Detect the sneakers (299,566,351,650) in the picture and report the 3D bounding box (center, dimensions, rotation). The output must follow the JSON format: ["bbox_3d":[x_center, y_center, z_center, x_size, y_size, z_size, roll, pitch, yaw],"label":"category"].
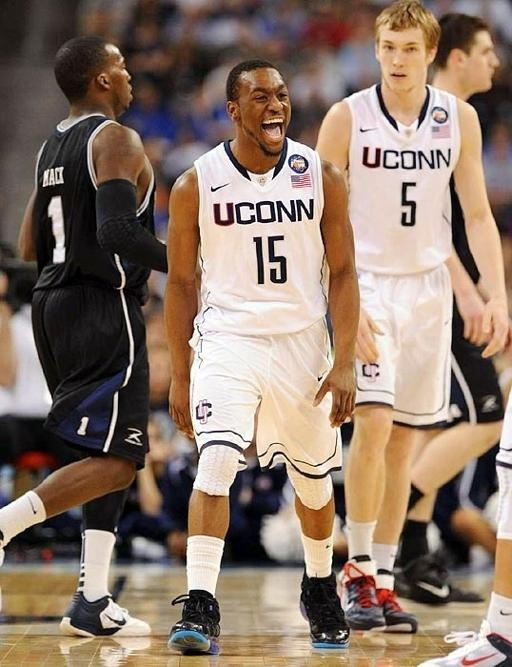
[{"bbox_3d":[0.205,0.867,2.476,0.092,0.120,0.270,-3,5,-5],"label":"sneakers"}]

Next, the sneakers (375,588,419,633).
[{"bbox_3d":[0.512,1.025,2.956,0.108,0.129,0.316,6,-21,10],"label":"sneakers"}]

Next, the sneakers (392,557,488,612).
[{"bbox_3d":[0.857,1.157,3.733,0.476,0.197,0.148,9,-5,-17],"label":"sneakers"}]

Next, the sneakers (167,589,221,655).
[{"bbox_3d":[-0.171,0.793,2.173,0.118,0.179,0.148,2,6,5],"label":"sneakers"}]

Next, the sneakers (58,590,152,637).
[{"bbox_3d":[-0.498,0.969,2.722,0.334,0.148,0.113,22,-31,-39],"label":"sneakers"}]

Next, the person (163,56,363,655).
[{"bbox_3d":[0.029,0.076,2.317,0.583,1.770,0.536,0,6,-6],"label":"person"}]

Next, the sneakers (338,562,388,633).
[{"bbox_3d":[0.376,0.949,2.890,0.144,0.173,0.404,2,1,-4],"label":"sneakers"}]
